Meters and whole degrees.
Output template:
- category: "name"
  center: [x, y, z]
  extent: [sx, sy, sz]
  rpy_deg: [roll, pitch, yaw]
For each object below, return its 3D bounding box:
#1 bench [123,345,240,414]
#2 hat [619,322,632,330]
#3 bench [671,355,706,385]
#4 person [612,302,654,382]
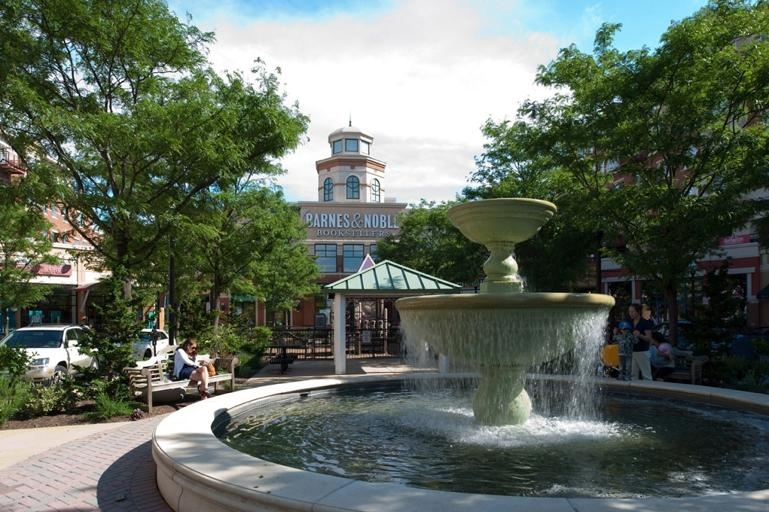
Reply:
- category: "bench"
  center: [-5.752, 3.418, 16.832]
  extent: [0.946, 1.310, 3.075]
  rpy_deg: [0, -5, 24]
- category: "hat"
  center: [6.526, 1.865, 16.318]
  extent: [0.440, 0.264, 0.224]
  rpy_deg: [-7, 7, -44]
- category: "bench"
  center: [8.570, 3.217, 16.909]
  extent: [0.753, 0.887, 0.911]
  rpy_deg: [9, -12, -38]
- category: "person"
  center: [6.888, 2.351, 16.417]
  extent: [0.924, 2.173, 0.912]
  rpy_deg: [-1, 6, 11]
